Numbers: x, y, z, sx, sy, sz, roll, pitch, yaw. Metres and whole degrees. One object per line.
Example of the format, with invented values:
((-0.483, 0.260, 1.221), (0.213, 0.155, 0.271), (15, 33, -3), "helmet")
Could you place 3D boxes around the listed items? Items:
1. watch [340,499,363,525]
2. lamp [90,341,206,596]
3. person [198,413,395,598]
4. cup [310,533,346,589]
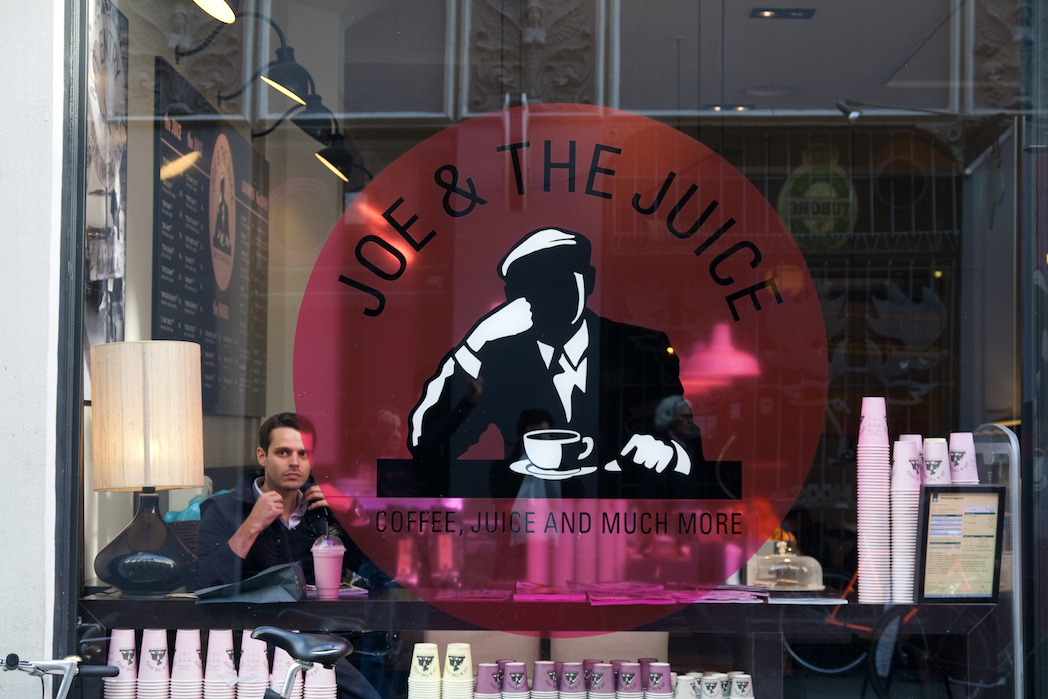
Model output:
((-0.581, 0.559, 5.590), (0.066, 0.091, 0.017), (1, -8, -12), "watch")
((-1.292, 0.408, 5.585), (0.368, 0.847, 0.237), (2, -8, -14), "lamp")
((-0.753, 0.539, 5.604), (0.563, 0.743, 0.329), (-1, -10, -20), "person")
((-0.662, 0.729, 5.665), (0.150, 0.231, 0.146), (0, 0, 0), "cup")
